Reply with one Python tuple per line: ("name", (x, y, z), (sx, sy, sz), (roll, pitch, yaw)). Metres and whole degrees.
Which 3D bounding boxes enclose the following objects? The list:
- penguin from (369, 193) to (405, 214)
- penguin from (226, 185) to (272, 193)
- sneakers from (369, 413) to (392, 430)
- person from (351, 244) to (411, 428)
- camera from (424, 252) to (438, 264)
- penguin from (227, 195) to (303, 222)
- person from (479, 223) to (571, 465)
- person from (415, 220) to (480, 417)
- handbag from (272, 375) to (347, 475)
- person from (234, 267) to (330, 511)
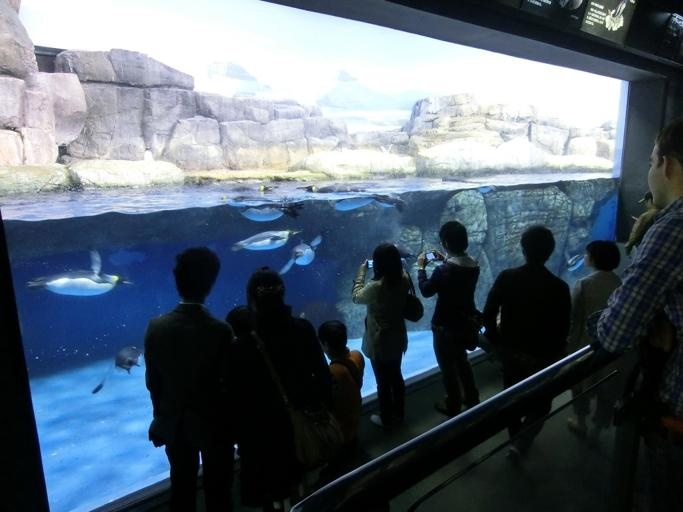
("penguin", (1.466, -1.685, 15.345), (0.436, 0.530, 1.539), (-16, -13, 23))
("penguin", (-1.558, -1.176, 8.717), (0.171, 0.142, 0.789), (8, 16, 44))
("sneakers", (0.465, 1.988, 5.850), (0.105, 0.111, 0.279), (-31, 40, -32))
("person", (0.492, 0.946, 5.662), (0.622, 2.221, 0.291), (-2, 11, 8))
("camera", (1.055, 0.034, 5.807), (0.105, 0.147, 0.145), (-4, -4, 0))
("penguin", (-1.990, -1.182, 12.479), (1.853, 0.763, 0.698), (-1, 23, 18))
("person", (2.111, 0.643, 5.633), (0.947, 1.960, 0.434), (1, 12, 21))
("person", (1.293, 0.782, 5.890), (0.768, 2.407, 0.292), (-6, 11, -13))
("handbag", (-0.315, 1.535, 4.549), (0.485, 0.750, 0.803), (-40, 54, -14))
("person", (-0.536, 1.296, 4.588), (0.856, 2.234, 0.498), (-4, 11, -2))
